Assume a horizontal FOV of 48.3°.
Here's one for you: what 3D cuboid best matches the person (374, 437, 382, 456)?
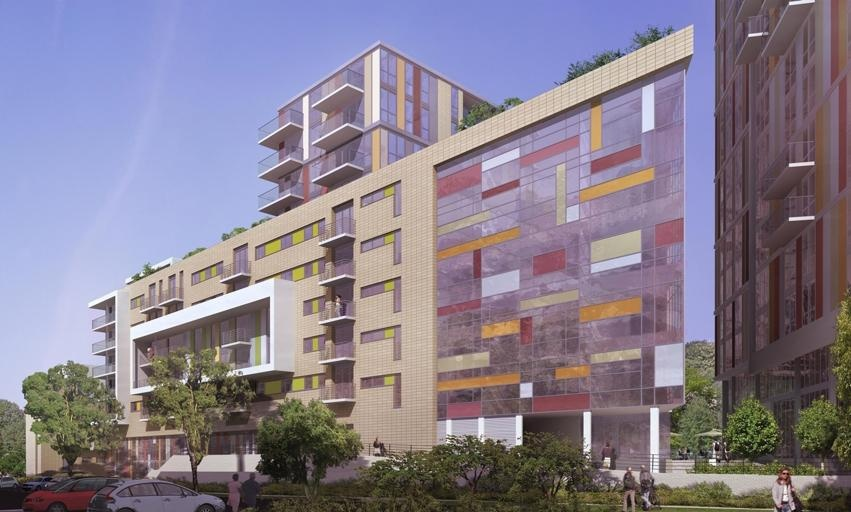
[{"bbox_3d":[-4.040,16.491,82.066,0.725,1.744,1.332,-2,-21,-5],"label":"person"}]

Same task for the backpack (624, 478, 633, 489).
[{"bbox_3d":[13.054,14.645,60.931,0.498,0.648,0.673,-15,-41,26],"label":"backpack"}]

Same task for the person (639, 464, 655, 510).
[{"bbox_3d":[14.593,15.238,62.376,0.888,2.858,1.508,-7,-21,11],"label":"person"}]

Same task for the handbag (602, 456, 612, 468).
[{"bbox_3d":[13.707,15.570,71.487,0.716,0.953,0.688,5,-22,-16],"label":"handbag"}]

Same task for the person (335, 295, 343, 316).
[{"bbox_3d":[-7.973,4.553,88.132,0.631,2.267,0.923,2,-21,-13],"label":"person"}]
